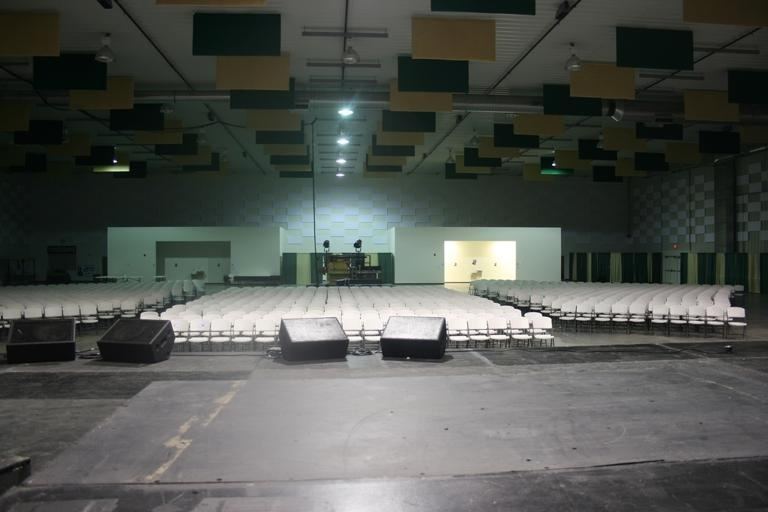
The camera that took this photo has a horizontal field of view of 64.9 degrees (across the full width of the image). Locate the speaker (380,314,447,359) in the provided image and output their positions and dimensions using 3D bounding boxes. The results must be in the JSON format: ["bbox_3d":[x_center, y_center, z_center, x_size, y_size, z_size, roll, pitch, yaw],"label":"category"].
[{"bbox_3d":[0.586,1.627,11.988,1.034,0.689,0.893,0,5,11],"label":"speaker"}]

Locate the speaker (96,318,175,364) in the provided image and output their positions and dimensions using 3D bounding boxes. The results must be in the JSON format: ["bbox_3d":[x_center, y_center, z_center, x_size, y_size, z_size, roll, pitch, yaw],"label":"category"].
[{"bbox_3d":[-4.786,1.666,11.741,1.043,0.965,0.698,4,3,7],"label":"speaker"}]

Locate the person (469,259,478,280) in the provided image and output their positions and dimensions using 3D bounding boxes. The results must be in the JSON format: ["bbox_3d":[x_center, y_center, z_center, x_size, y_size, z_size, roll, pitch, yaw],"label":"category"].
[{"bbox_3d":[4.323,0.618,28.745,0.462,0.868,0.686,6,14,26],"label":"person"}]

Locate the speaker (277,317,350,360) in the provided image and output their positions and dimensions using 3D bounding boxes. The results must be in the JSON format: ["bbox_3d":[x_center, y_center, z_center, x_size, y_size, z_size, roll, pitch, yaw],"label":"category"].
[{"bbox_3d":[-1.374,1.635,11.932,1.103,0.708,0.903,2,-6,-22],"label":"speaker"}]
